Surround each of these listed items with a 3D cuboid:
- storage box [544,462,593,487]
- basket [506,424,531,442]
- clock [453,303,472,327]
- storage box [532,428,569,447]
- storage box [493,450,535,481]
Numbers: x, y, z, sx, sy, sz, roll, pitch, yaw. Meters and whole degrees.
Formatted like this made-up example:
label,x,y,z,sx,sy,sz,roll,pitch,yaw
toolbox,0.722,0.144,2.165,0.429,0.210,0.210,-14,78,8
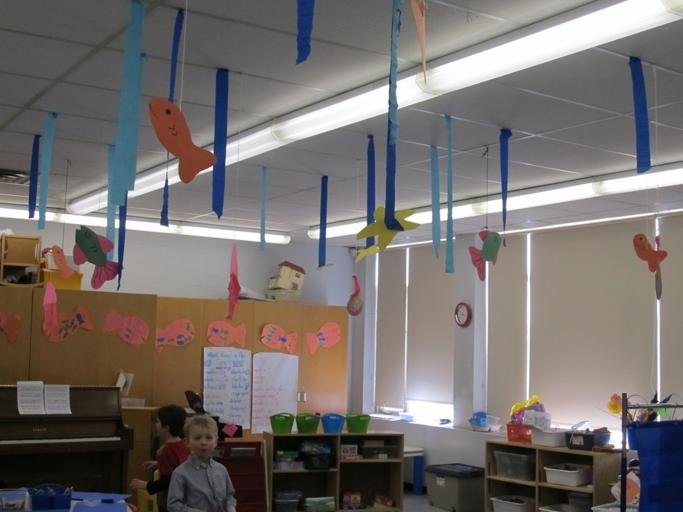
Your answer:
label,x,y,z,sx,sy,sz,roll,pitch,yaw
storage box,2.529,2.436,7.054,0.501,0.213,0.308,-1,-10,17
basket,2.105,2.085,7.480,0.224,0.176,0.181,-1,-6,14
clock,1.755,0.848,9.092,0.076,0.380,0.296,7,-10,-32
storage box,2.377,2.064,7.227,0.280,0.128,0.185,-5,-9,26
storage box,2.021,2.442,7.449,0.371,0.217,0.270,-2,-7,36
